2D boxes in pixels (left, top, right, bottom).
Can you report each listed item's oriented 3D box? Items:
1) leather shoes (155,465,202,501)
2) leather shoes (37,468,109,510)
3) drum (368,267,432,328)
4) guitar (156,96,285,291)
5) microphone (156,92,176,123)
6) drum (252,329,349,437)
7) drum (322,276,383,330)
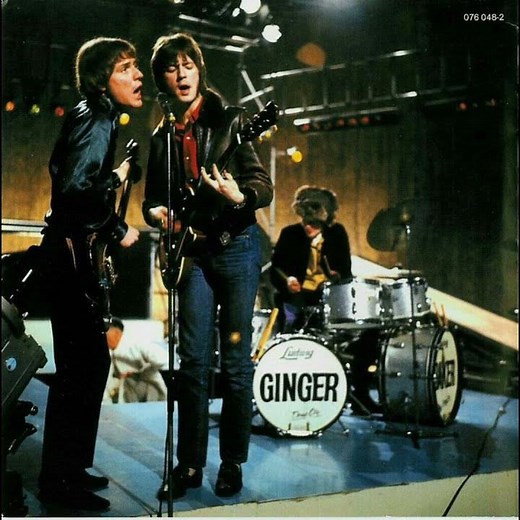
[{"bbox_3d":[-0.367,0.981,3.146,0.093,0.123,0.267,-3,-21,26],"label":"leather shoes"},{"bbox_3d":[-0.815,1.010,3.125,0.298,0.131,0.203,2,3,-16],"label":"leather shoes"},{"bbox_3d":[0.877,0.234,4.491,0.323,0.342,0.329,-7,-18,20],"label":"drum"},{"bbox_3d":[-0.211,-0.296,3.237,0.515,0.857,0.497,2,3,-19],"label":"guitar"},{"bbox_3d":[-0.414,-0.643,3.069,0.048,0.176,0.049,-21,-17,5],"label":"microphone"},{"bbox_3d":[0.235,0.755,4.277,0.663,0.737,0.277,0,-6,-3],"label":"drum"},{"bbox_3d":[0.571,0.292,4.481,0.300,0.211,0.315,0,-12,0],"label":"drum"}]
